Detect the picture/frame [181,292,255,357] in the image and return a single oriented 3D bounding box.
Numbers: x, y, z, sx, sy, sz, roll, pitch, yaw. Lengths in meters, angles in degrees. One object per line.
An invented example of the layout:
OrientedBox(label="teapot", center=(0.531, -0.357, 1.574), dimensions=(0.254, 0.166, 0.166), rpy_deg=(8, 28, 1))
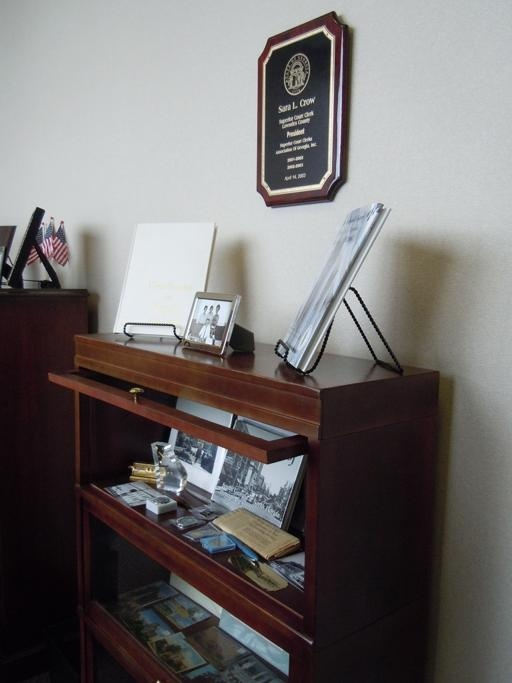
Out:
OrientedBox(label="picture/frame", center=(-0.080, -0.037, 1.166), dimensions=(0.102, 0.129, 0.152), rpy_deg=(7, 3, -42))

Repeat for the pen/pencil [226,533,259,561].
OrientedBox(label="pen/pencil", center=(-0.022, 0.407, 1.030), dimensions=(0.020, 0.012, 0.082), rpy_deg=(-37, 23, -18))

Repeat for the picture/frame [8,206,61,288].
OrientedBox(label="picture/frame", center=(-0.938, -0.398, 2.221), dimensions=(0.232, 0.408, 0.380), rpy_deg=(4, 8, -25))
